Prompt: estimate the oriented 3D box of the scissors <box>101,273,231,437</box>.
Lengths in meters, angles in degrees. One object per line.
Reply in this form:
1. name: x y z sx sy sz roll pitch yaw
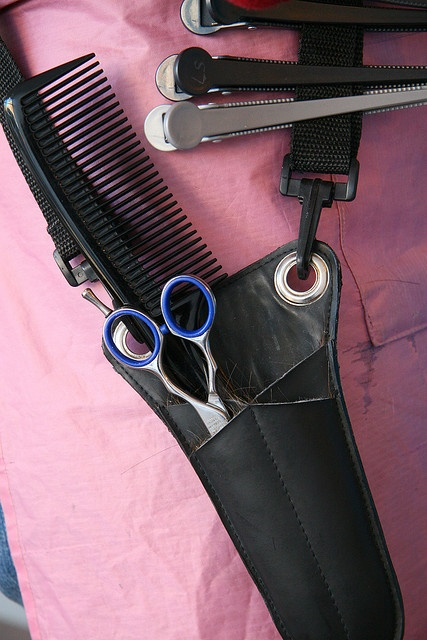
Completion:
1. scissors: -0.019 0.022 0.465 0.086 0.081 0.116 -36 56 -16
